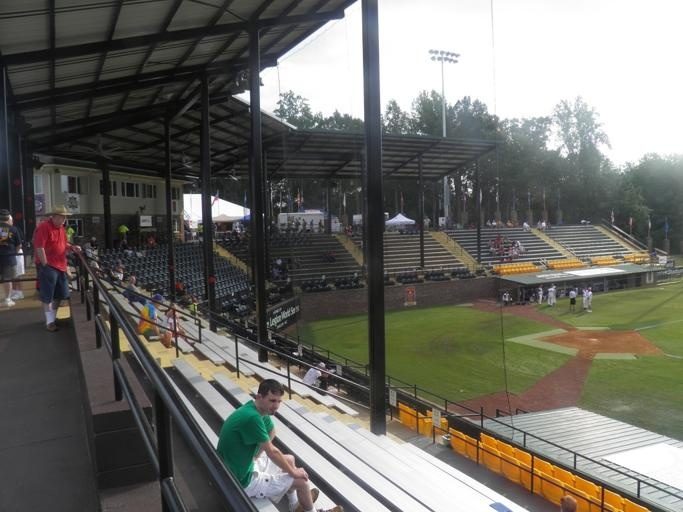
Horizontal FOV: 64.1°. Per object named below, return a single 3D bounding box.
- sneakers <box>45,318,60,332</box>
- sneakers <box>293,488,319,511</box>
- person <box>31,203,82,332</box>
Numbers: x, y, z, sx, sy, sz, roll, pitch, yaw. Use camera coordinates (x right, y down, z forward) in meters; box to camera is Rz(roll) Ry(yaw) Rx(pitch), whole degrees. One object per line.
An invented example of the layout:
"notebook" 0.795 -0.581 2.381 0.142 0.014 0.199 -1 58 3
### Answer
"sneakers" -4.680 1.140 8.824 0.245 0.109 0.124 4 3 42
"sneakers" -0.464 3.232 7.134 0.135 0.195 0.431 0 8 17
"person" -4.694 0.203 8.874 0.450 1.951 0.648 -2 5 7
